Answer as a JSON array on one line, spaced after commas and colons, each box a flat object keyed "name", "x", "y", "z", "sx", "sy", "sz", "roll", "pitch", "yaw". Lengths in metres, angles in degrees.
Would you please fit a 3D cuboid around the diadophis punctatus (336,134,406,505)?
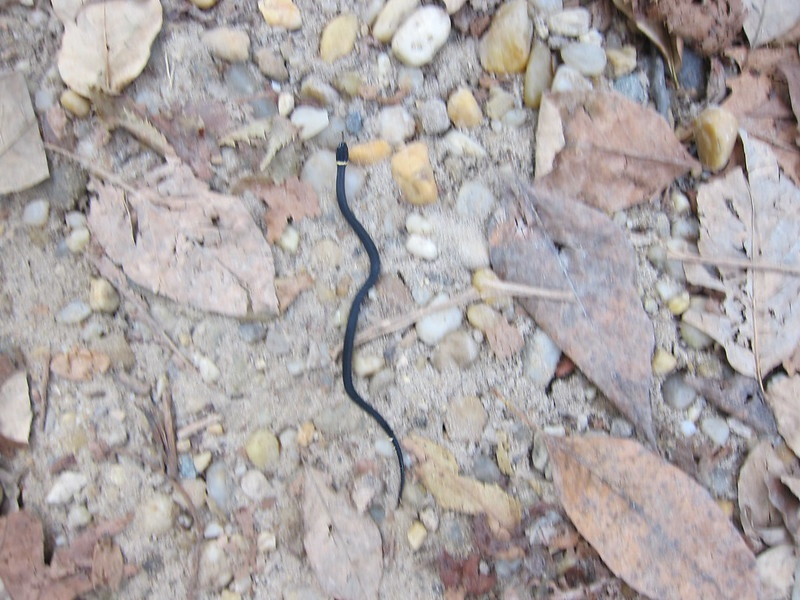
[{"name": "diadophis punctatus", "x": -0.084, "y": -0.019, "z": 2.355, "sx": 0.054, "sy": 0.162, "sz": 1.193, "roll": -3, "pitch": 90, "yaw": 17}]
